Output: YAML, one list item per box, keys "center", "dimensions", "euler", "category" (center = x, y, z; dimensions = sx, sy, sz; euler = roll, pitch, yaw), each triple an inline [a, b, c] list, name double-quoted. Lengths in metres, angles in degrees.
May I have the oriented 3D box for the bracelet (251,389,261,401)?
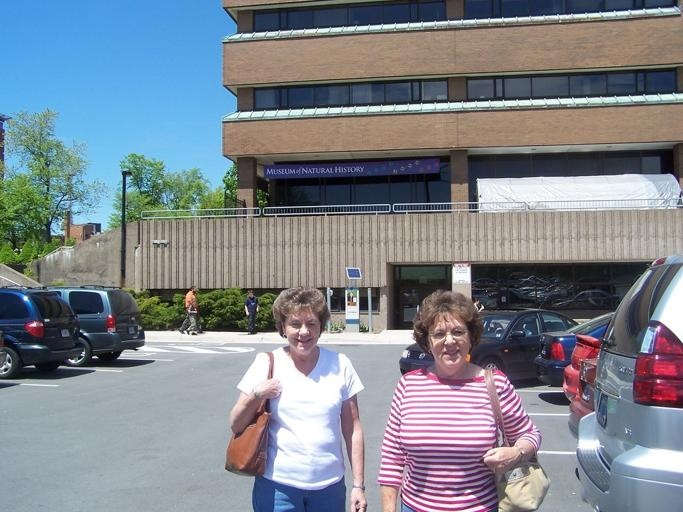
- center: [-0.945, 1.513, 8.676]
  dimensions: [0.105, 0.109, 0.101]
  euler: [0, -11, -9]
  category: "bracelet"

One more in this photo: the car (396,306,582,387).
- center: [3.625, 1.851, 17.680]
  dimensions: [4.394, 1.480, 1.988]
  euler: [3, -6, -35]
  category: "car"

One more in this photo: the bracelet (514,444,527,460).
- center: [1.920, 2.071, 8.414]
  dimensions: [0.073, 0.118, 0.105]
  euler: [-3, -30, -5]
  category: "bracelet"

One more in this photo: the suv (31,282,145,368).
- center: [-6.928, 1.685, 21.312]
  dimensions: [2.712, 1.482, 1.566]
  euler: [2, -2, 13]
  category: "suv"
